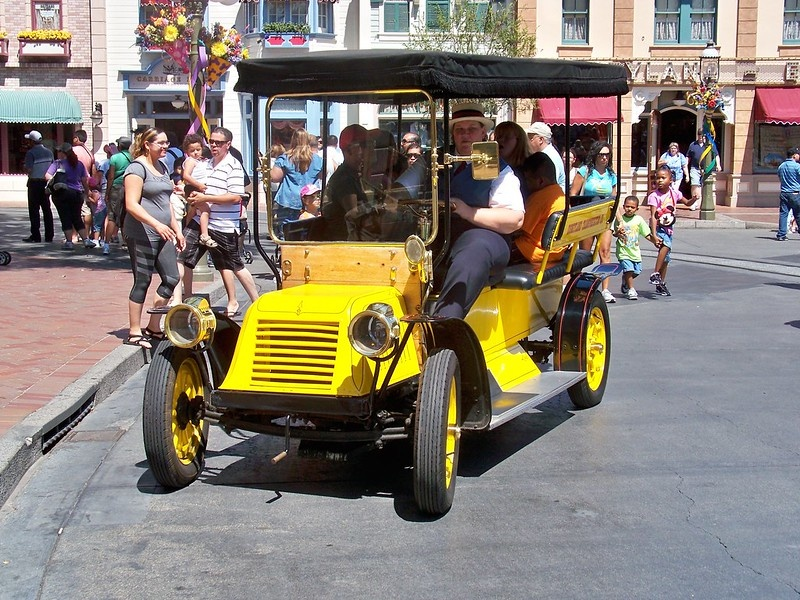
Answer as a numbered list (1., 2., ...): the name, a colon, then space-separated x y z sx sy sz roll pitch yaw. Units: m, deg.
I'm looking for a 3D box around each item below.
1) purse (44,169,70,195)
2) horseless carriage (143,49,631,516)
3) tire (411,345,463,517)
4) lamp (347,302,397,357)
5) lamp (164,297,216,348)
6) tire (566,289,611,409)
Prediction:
1. purse: -6.326 -2.184 16.713 0.445 0.463 0.248 -9 -20 42
2. horseless carriage: 0.087 -0.315 6.458 2.028 2.874 3.709 7 13 29
3. tire: 0.215 0.804 5.370 0.252 0.987 0.453 2 11 9
4. lamp: -0.153 0.175 5.013 0.233 0.266 0.296 0 1 -1
5. lamp: -1.298 0.168 5.632 0.289 0.321 0.289 1 11 5
6. tire: 1.569 0.425 7.595 0.286 0.955 0.817 5 -7 26
